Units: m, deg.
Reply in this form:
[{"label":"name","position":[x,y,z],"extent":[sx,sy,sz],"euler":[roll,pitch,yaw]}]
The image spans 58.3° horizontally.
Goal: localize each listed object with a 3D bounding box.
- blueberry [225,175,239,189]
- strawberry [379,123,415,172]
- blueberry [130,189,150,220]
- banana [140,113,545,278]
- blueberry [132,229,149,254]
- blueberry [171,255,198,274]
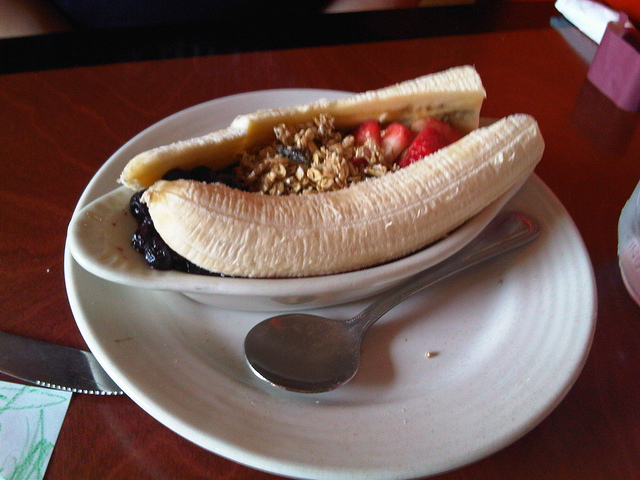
[{"label":"blueberry","position":[-0.140,-0.091,0.903],"extent":[0.014,0.005,0.021],"euler":[7,66,-1]},{"label":"strawberry","position":[0.131,-0.163,0.980],"extent":[0.048,0.029,0.089],"euler":[23,80,17]},{"label":"blueberry","position":[-0.277,-0.054,0.874],"extent":[0.029,0.013,0.043],"euler":[0,86,-13]},{"label":"banana","position":[0.034,-0.040,0.861],"extent":[0.694,0.229,0.181],"euler":[-10,20,-6]},{"label":"blueberry","position":[-0.268,0.003,0.848],"extent":[0.022,0.010,0.033],"euler":[2,61,-3]},{"label":"blueberry","position":[-0.199,0.037,0.846],"extent":[0.031,0.025,0.009],"euler":[22,44,1]}]
